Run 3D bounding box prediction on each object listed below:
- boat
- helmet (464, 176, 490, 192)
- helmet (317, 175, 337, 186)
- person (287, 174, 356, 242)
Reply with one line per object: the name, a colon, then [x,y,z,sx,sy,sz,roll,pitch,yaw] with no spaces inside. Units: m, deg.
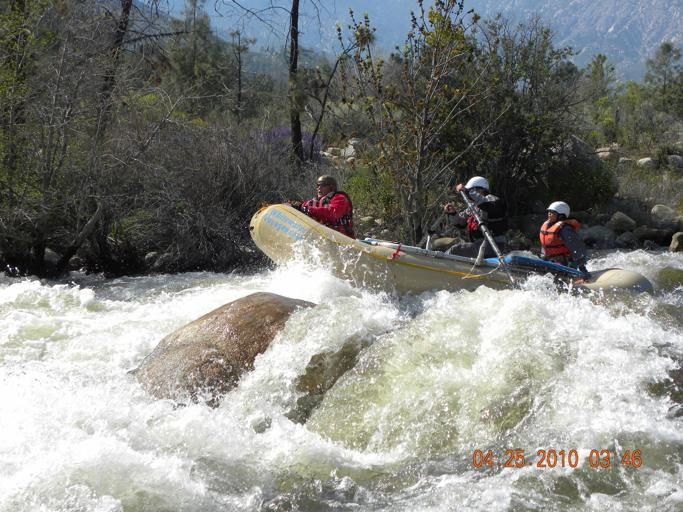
boat: [1.593,0.279,10.646,5.091,1.290,2.401,9,-10,4]
helmet: [2.455,-1.291,11.693,0.467,0.303,0.360,2,-11,-11]
helmet: [-0.234,-1.288,11.371,0.235,0.220,0.236,2,-3,-5]
person: [-0.387,-0.854,11.932,0.727,0.697,1.409,20,19,-19]
